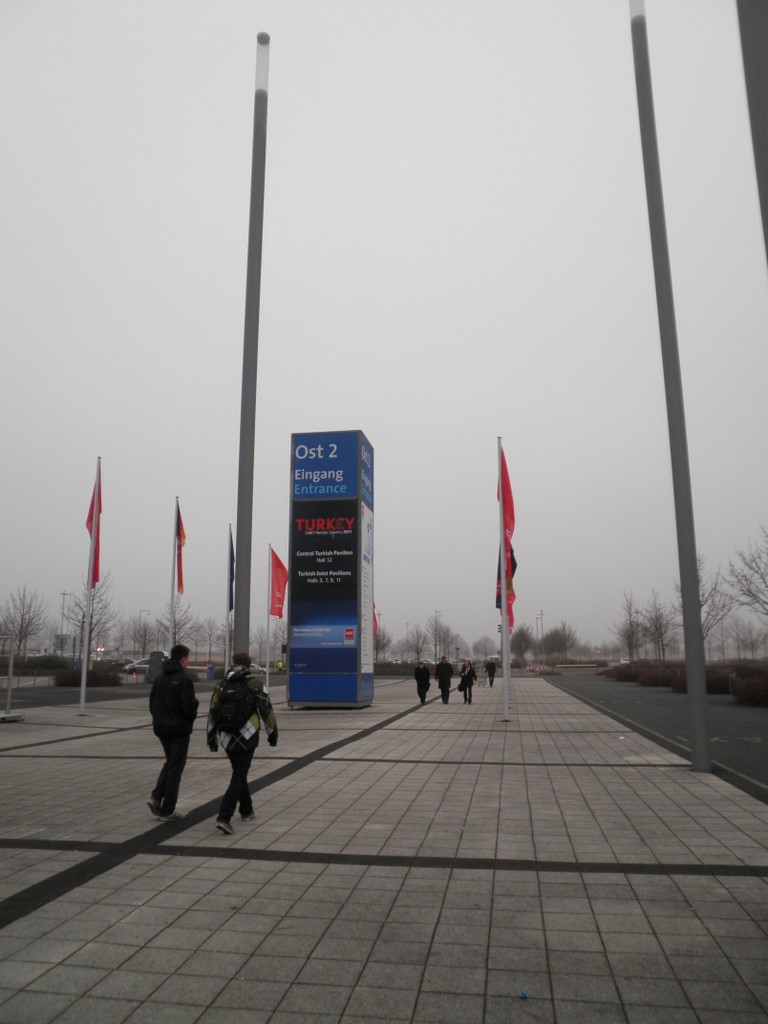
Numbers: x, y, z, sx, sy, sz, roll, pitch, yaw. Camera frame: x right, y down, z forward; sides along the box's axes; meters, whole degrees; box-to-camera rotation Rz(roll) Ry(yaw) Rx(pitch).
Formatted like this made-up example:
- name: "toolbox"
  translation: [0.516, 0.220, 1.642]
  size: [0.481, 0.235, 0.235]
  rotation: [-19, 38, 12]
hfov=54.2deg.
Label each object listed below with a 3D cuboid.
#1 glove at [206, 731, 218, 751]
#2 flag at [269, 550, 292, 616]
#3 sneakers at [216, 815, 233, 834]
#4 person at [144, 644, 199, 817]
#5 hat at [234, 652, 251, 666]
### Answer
- name: "glove"
  translation: [-1.628, 2.177, 7.128]
  size: [0.082, 0.181, 0.261]
  rotation: [1, -9, -11]
- name: "flag"
  translation: [-4.273, 2.892, 30.040]
  size: [0.845, 3.576, 0.314]
  rotation: [4, 31, -3]
- name: "sneakers"
  translation: [-1.477, 2.899, 6.959]
  size: [0.073, 0.121, 0.255]
  rotation: [-2, -44, 13]
- name: "person"
  translation: [-2.197, 2.266, 7.835]
  size: [0.470, 1.745, 1.408]
  rotation: [1, -8, -16]
- name: "hat"
  translation: [-1.411, 1.459, 7.467]
  size: [0.092, 0.170, 0.144]
  rotation: [2, -7, 3]
